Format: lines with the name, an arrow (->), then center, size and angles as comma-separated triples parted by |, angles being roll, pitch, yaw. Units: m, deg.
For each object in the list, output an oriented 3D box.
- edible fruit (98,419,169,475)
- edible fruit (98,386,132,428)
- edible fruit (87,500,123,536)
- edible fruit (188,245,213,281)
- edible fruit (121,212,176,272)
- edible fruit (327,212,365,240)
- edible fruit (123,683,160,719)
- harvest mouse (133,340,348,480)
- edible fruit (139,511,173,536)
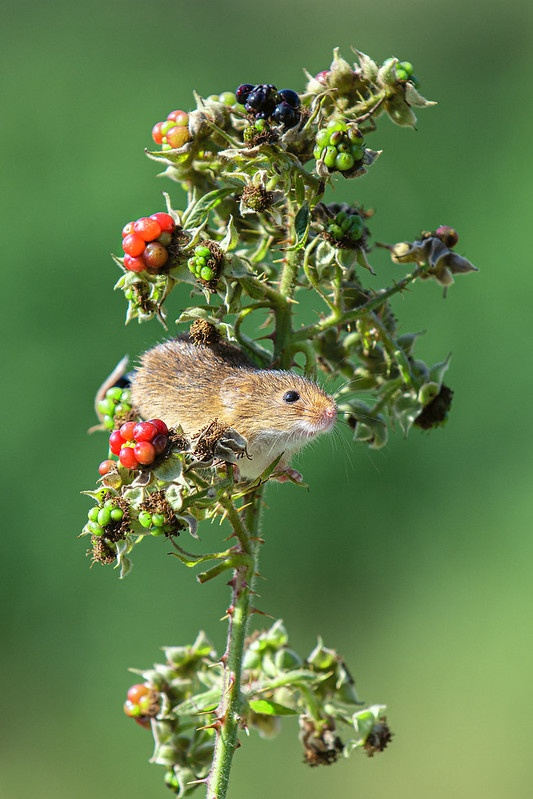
edible fruit -> -0.202, 0.070, 1.550 | 0.119, 0.061, 0.055 | -19, -77, 4
edible fruit -> -0.303, 0.015, 1.974 | 0.073, 0.086, 0.057 | 9, -45, 12
edible fruit -> -0.255, 0.187, 1.548 | 0.053, 0.031, 0.065 | 21, -37, -26
edible fruit -> -0.107, -0.227, 1.632 | 0.051, 0.027, 0.053 | 5, -85, -4
edible fruit -> -0.197, -0.263, 1.645 | 0.083, 0.081, 0.090 | 5, -54, -7
edible fruit -> 0.140, -0.305, 1.714 | 0.053, 0.060, 0.032 | -14, -67, -42
edible fruit -> -0.235, 0.579, 1.881 | 0.064, 0.051, 0.042 | 9, -55, -10
harvest mouse -> -0.067, -0.017, 1.926 | 0.485, 0.198, 0.207 | 14, -64, 12
edible fruit -> -0.173, 0.195, 1.540 | 0.056, 0.028, 0.031 | 29, -60, -23
